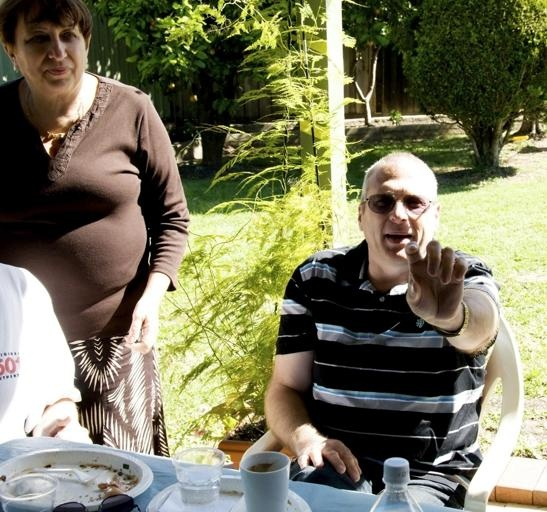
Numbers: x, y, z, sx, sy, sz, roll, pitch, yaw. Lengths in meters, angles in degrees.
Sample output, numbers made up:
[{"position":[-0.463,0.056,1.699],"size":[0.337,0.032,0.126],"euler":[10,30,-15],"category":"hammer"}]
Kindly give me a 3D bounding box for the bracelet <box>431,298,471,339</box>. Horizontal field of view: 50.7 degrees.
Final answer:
[{"position":[0.453,0.159,1.426],"size":[0.117,0.098,0.064],"euler":[-7,11,-26],"category":"bracelet"}]

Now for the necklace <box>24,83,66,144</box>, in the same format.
[{"position":[-0.747,-0.471,1.869],"size":[0.136,0.064,0.177],"euler":[9,30,-9],"category":"necklace"}]

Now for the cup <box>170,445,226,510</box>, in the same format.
[{"position":[-0.138,0.409,1.075],"size":[0.103,0.072,0.092],"euler":[0,10,-3],"category":"cup"}]
